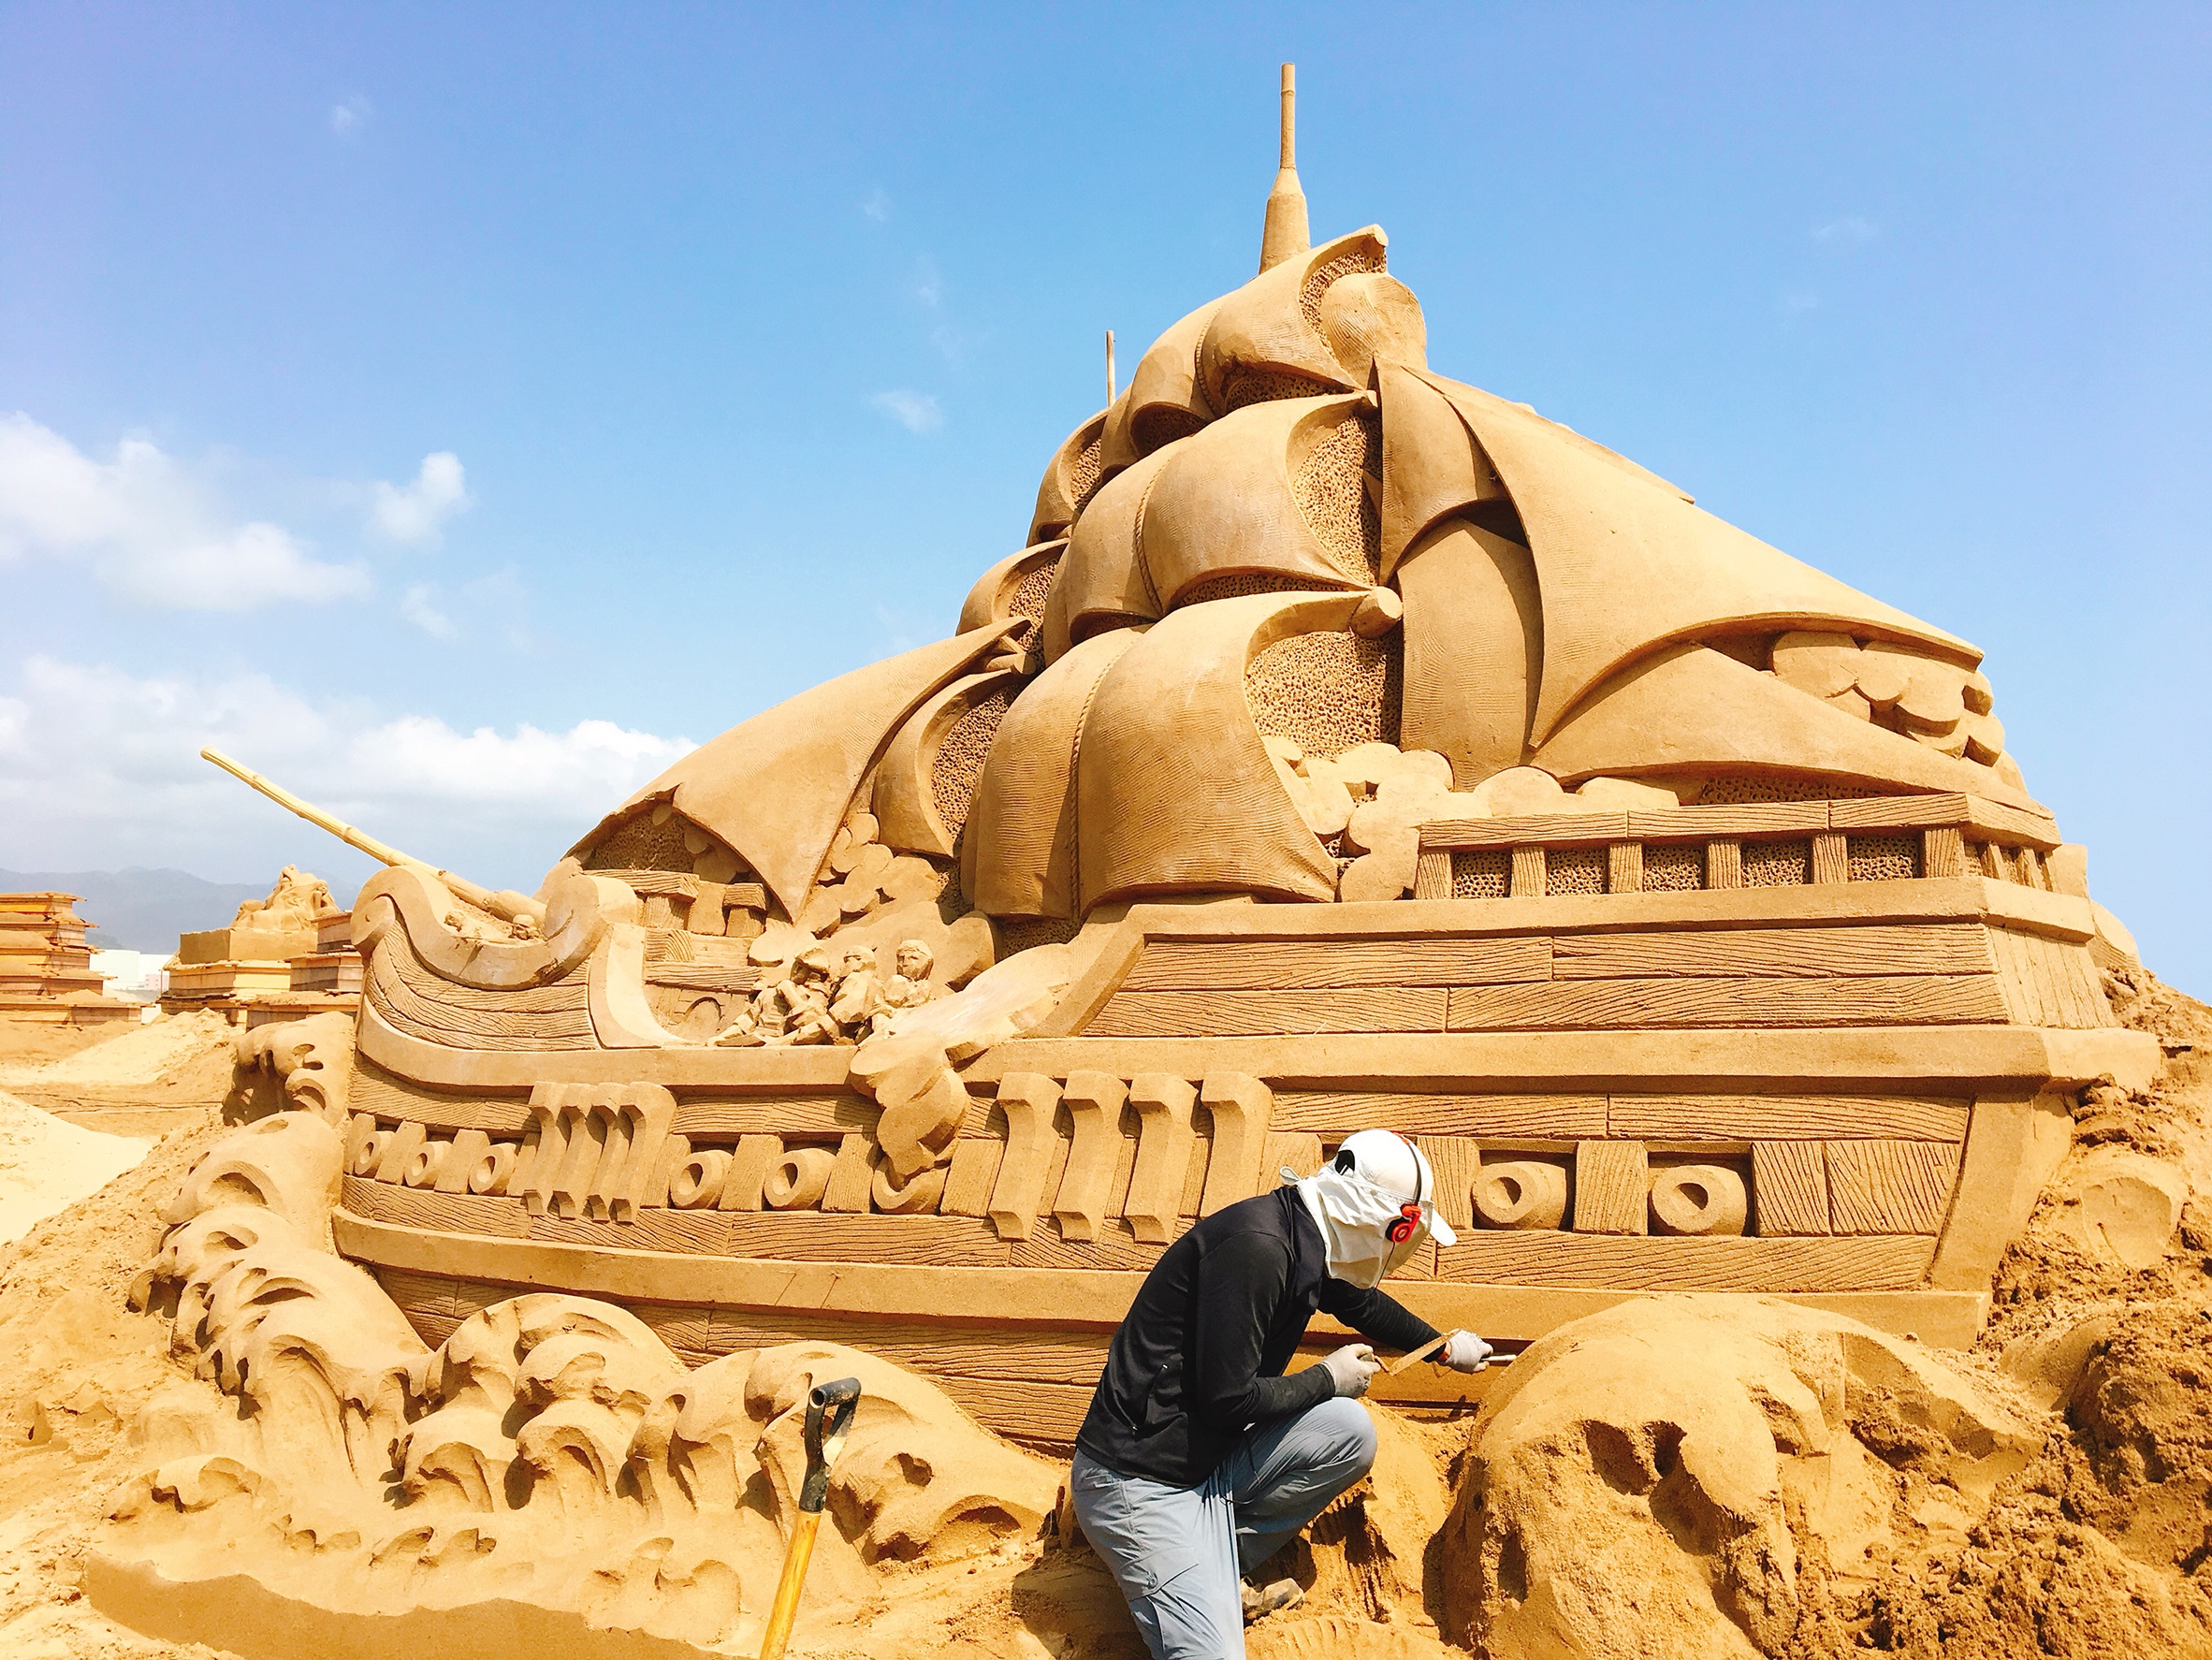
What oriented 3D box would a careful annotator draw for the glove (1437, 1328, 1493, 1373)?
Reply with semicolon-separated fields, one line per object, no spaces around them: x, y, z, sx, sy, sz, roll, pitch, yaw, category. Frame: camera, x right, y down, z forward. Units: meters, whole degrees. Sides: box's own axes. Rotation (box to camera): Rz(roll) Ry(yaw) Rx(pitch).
1.151;1.631;5.134;0.266;0.168;0.096;14;-9;-35;glove

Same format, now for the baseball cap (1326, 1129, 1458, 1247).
0.859;1.038;4.894;0.339;0.218;0.259;8;3;14;baseball cap

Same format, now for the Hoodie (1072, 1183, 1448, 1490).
0.528;1.549;5.214;0.909;0.833;1.085;4;-4;10;Hoodie

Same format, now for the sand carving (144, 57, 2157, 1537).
0.536;-0.343;8.062;7.833;6.695;3.287;0;-11;36;sand carving

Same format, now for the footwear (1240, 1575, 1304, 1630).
0.519;2.403;5.111;0.181;0.084;0.125;-13;-7;17;footwear
